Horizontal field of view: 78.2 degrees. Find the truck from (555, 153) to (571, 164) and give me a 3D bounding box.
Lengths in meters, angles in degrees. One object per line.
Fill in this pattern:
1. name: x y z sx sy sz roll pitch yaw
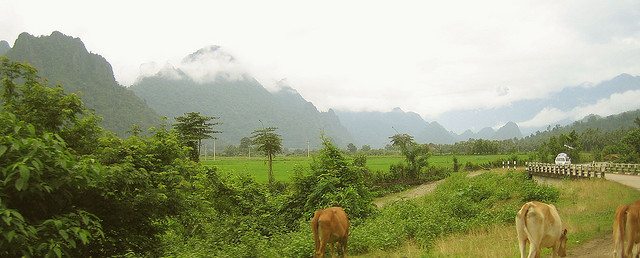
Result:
1. truck: 106.519 13.060 173.104 4.675 3.269 7.171 1 2 24
